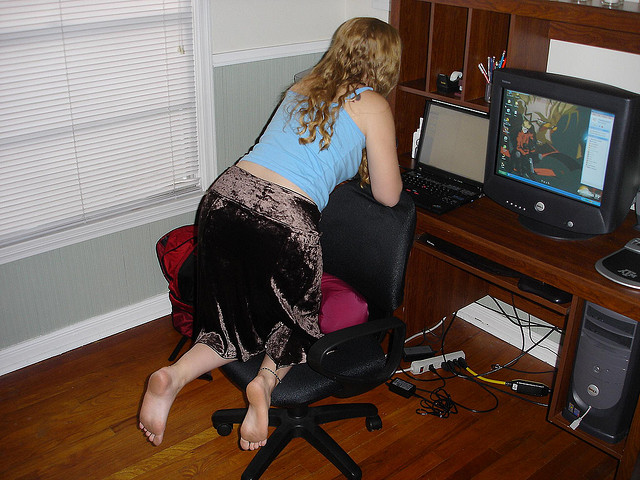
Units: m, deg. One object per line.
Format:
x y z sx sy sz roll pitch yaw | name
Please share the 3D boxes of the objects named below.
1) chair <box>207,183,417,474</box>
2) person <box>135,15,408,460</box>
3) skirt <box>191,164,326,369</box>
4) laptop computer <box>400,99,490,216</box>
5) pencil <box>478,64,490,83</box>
-0.046 0.356 1.954 0.788 1.062 0.708 -21 36 -38 | chair
-0.136 -0.004 1.867 0.548 1.516 1.168 19 32 38 | person
-0.220 0.113 1.829 0.531 0.651 0.367 16 27 21 | skirt
0.687 -0.437 2.533 0.186 0.597 0.552 -16 31 -30 | laptop computer
0.810 -0.827 2.397 0.012 0.106 0.012 -30 14 15 | pencil
